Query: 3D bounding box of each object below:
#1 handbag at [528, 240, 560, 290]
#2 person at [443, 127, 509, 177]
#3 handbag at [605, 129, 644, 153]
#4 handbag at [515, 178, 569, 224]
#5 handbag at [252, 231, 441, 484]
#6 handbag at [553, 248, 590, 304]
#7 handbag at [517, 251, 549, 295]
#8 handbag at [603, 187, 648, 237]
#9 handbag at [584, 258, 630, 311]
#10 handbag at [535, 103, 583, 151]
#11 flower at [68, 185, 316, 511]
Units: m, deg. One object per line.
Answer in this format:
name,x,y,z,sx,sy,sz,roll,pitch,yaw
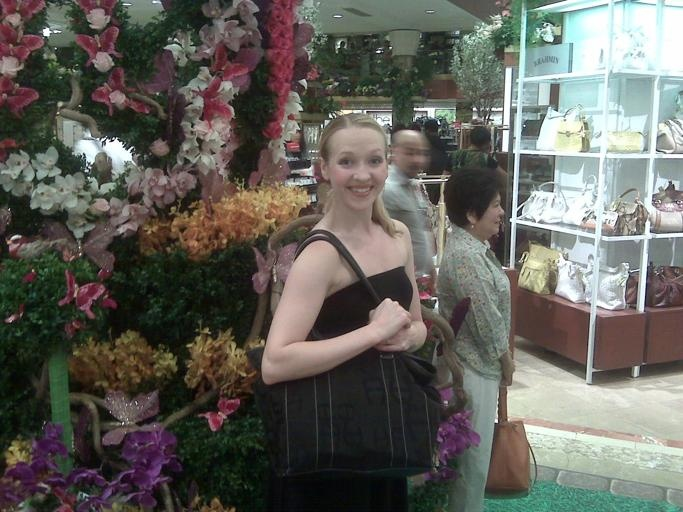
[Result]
handbag,1.674,0.130,5.193,0.145,0.381,0.391,5,8,-19
person,1.429,-1.012,6.319,0.684,0.589,0.373,5,4,22
handbag,2.126,-0.821,4.569,0.227,0.115,0.173,1,7,6
handbag,1.772,-0.480,5.344,0.186,0.341,0.353,10,4,-28
handbag,0.021,0.257,1.615,0.520,0.650,0.240,-2,9,-11
handbag,1.882,0.182,4.978,0.153,0.398,0.392,-2,8,-17
handbag,1.623,0.156,5.118,0.132,0.298,0.311,15,2,-23
handbag,2.156,-0.324,4.611,0.242,0.445,0.318,-3,11,-43
handbag,2.050,0.237,4.701,0.171,0.379,0.387,3,1,34
handbag,1.844,-1.038,5.057,0.372,0.356,0.147,-3,8,-14
flower,-0.647,0.267,2.286,0.982,1.019,0.325,3,1,-45
